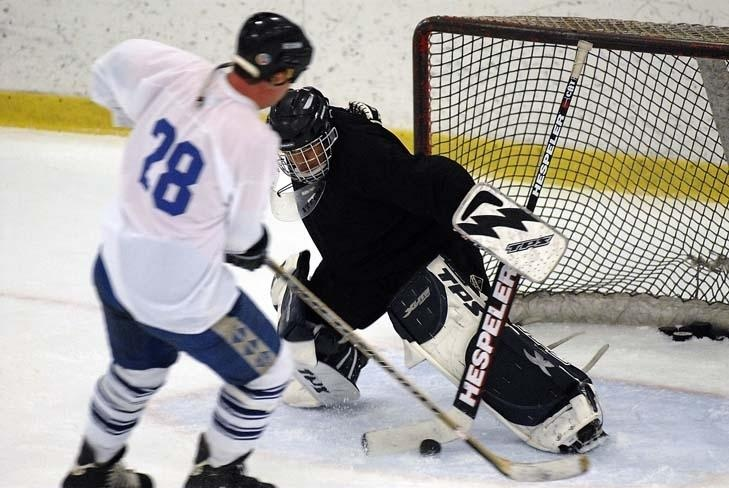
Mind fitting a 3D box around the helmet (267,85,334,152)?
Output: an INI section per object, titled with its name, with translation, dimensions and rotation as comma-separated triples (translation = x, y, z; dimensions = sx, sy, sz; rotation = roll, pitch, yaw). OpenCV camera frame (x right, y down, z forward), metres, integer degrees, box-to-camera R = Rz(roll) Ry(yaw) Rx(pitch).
[helmet]
translation = -0.247, -0.492, 3.118
dimensions = 0.208, 0.242, 0.253
rotation = 6, 57, 28
